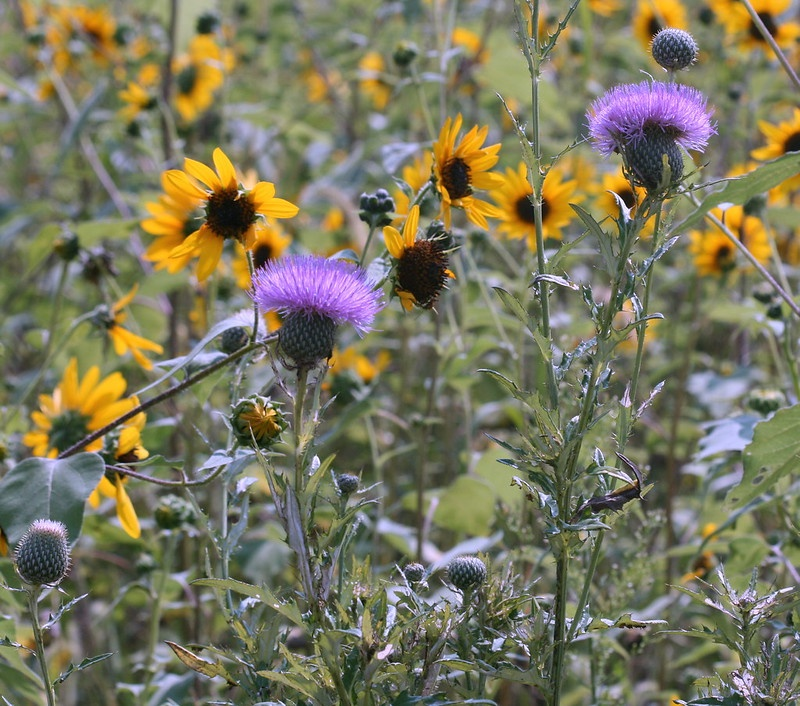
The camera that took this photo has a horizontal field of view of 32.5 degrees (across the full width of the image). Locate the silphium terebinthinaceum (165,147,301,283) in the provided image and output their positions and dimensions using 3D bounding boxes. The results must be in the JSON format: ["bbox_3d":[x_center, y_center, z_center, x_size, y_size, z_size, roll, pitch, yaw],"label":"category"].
[{"bbox_3d":[-0.327,-0.272,2.700,0.190,0.307,0.217,6,8,40],"label":"silphium terebinthinaceum"}]

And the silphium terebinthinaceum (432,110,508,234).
[{"bbox_3d":[0.095,-0.374,2.745,0.203,0.224,0.097,-6,63,2],"label":"silphium terebinthinaceum"}]

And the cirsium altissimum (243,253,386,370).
[{"bbox_3d":[-0.150,-0.085,2.563,0.249,0.143,0.211,-2,40,-8],"label":"cirsium altissimum"}]
